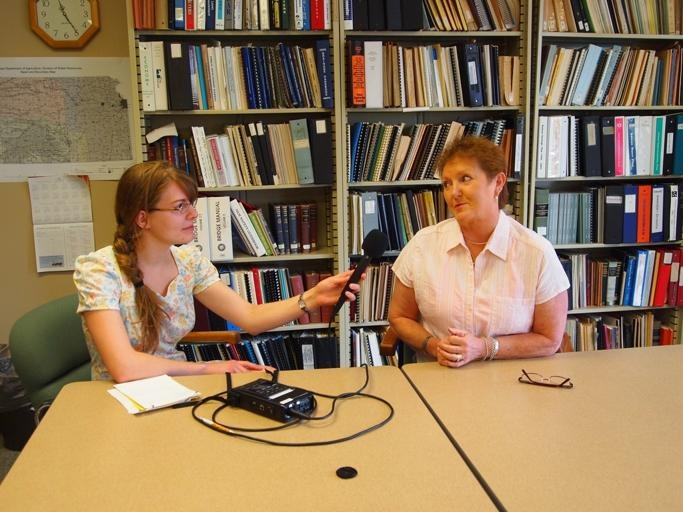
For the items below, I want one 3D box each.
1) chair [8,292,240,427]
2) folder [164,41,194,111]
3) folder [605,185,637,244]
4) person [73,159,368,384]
[{"bbox_3d":[-0.877,0.356,2.186,0.445,0.562,0.438,-10,4,44],"label":"chair"},{"bbox_3d":[-0.851,-0.936,2.955,0.131,0.331,0.062,-6,13,-15],"label":"folder"},{"bbox_3d":[1.663,-0.261,3.370,0.169,0.316,0.311,0,8,6],"label":"folder"},{"bbox_3d":[-0.414,0.000,2.404,1.078,1.197,0.743,2,8,-1],"label":"person"}]
